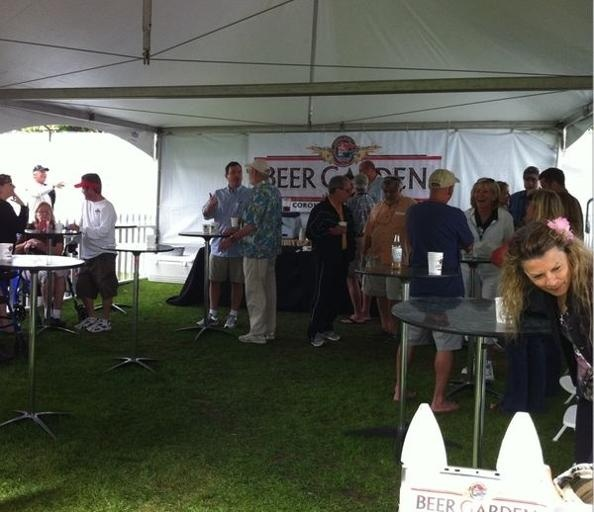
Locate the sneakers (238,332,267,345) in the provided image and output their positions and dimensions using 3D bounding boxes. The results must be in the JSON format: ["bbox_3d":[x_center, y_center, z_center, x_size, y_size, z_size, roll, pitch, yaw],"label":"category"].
[{"bbox_3d":[-0.461,0.869,5.989,0.307,0.139,0.113,6,1,7],"label":"sneakers"}]

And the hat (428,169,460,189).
[{"bbox_3d":[1.083,-0.572,4.227,0.184,0.144,0.219,3,8,13],"label":"hat"}]

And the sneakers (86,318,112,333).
[{"bbox_3d":[-2.186,0.779,6.271,0.242,0.109,0.109,3,-3,-39],"label":"sneakers"}]

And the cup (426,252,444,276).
[{"bbox_3d":[0.981,0.046,3.999,0.110,0.136,0.215,3,8,14],"label":"cup"}]

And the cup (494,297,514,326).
[{"bbox_3d":[0.884,0.240,2.472,0.091,0.096,0.096,-2,-1,0],"label":"cup"}]

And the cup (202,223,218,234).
[{"bbox_3d":[-1.008,-0.319,6.618,0.150,0.149,0.273,-1,-4,-6],"label":"cup"}]

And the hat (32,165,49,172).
[{"bbox_3d":[-3.697,-1.239,8.096,0.200,0.077,0.129,2,6,35],"label":"hat"}]

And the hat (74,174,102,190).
[{"bbox_3d":[-2.287,-0.815,6.194,0.272,0.166,0.365,-2,8,-22],"label":"hat"}]

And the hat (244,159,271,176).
[{"bbox_3d":[-0.401,-0.920,5.924,0.232,0.169,0.286,0,8,-10],"label":"hat"}]

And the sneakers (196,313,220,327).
[{"bbox_3d":[-1.054,0.756,6.595,0.324,0.158,0.111,2,-3,-15],"label":"sneakers"}]

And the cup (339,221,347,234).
[{"bbox_3d":[0.480,-0.306,5.849,0.086,0.105,0.106,0,-10,-9],"label":"cup"}]

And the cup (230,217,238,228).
[{"bbox_3d":[-0.685,-0.371,6.371,0.120,0.122,0.119,1,2,0],"label":"cup"}]

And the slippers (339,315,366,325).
[{"bbox_3d":[0.717,0.813,7.197,0.321,0.084,0.122,3,-6,-11],"label":"slippers"}]

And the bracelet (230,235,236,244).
[{"bbox_3d":[-0.647,-0.170,5.771,0.018,0.055,0.057,-8,21,-36],"label":"bracelet"}]

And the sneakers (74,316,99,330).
[{"bbox_3d":[-2.351,0.746,6.341,0.235,0.100,0.122,-1,1,5],"label":"sneakers"}]
